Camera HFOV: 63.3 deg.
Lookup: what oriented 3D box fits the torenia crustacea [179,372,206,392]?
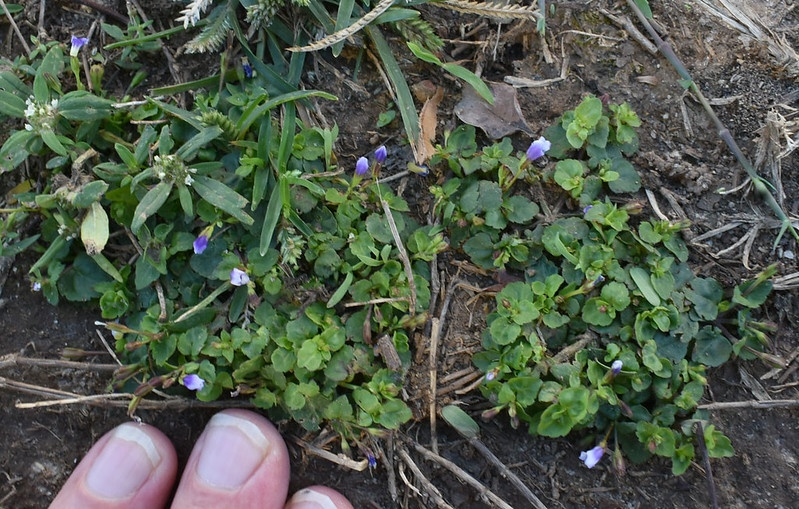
[{"bbox_3d":[-0.996,0.613,3.096,0.104,0.038,0.086,12,77,-35],"label":"torenia crustacea"}]

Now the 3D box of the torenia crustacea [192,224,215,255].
[{"bbox_3d":[-0.956,-0.071,3.123,0.060,0.028,0.183,21,25,-6],"label":"torenia crustacea"}]

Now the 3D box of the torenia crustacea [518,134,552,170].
[{"bbox_3d":[0.678,-0.503,3.222,0.079,0.160,0.081,41,48,-2],"label":"torenia crustacea"}]
